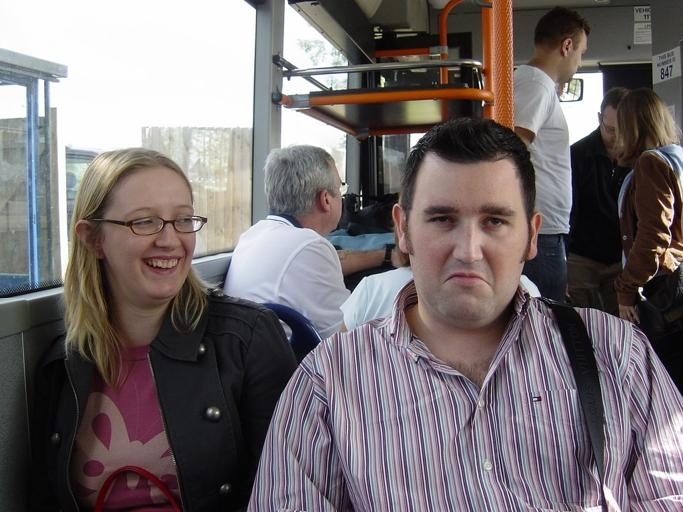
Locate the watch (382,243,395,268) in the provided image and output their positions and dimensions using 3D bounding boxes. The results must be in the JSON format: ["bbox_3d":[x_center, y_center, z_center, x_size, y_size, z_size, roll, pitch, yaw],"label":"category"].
[{"bbox_3d":[0.290,-0.011,3.513,0.042,0.122,0.084,5,-6,-8],"label":"watch"}]
